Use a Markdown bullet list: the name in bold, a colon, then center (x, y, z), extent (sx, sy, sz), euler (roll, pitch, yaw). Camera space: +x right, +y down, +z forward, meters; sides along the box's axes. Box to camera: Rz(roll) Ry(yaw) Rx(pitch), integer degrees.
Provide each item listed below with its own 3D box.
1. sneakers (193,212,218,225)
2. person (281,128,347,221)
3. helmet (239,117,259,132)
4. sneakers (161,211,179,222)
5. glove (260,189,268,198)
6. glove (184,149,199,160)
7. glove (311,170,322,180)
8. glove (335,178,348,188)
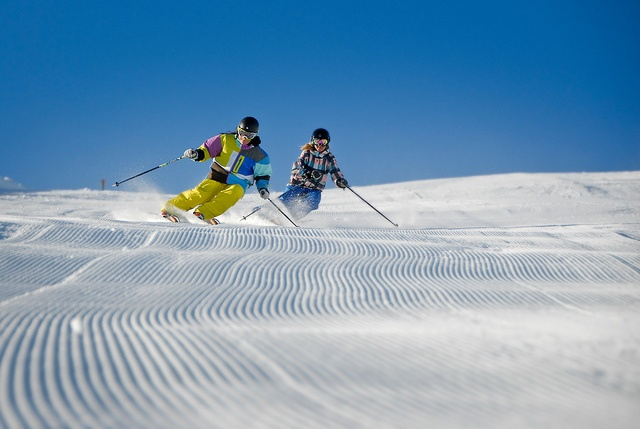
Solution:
- **sneakers**: center (-2.199, 0.091, 11.335), extent (0.392, 0.158, 0.238), euler (5, 2, -7)
- **person**: center (-0.235, -0.893, 13.794), extent (1.393, 2.207, 0.748), euler (1, 13, -1)
- **helmet**: center (-1.377, -1.734, 11.479), extent (0.347, 0.327, 0.463), euler (-1, 13, -12)
- **sneakers**: center (-2.876, 0.054, 11.289), extent (0.294, 0.089, 0.220), euler (27, 4, 8)
- **glove**: center (-1.125, -0.404, 11.927), extent (0.194, 0.236, 0.358), euler (0, 13, -6)
- **glove**: center (-2.508, -1.132, 11.492), extent (0.283, 0.271, 0.646), euler (-1, 13, -12)
- **glove**: center (-0.065, -0.931, 13.901), extent (0.252, 0.227, 0.080), euler (-4, 14, -22)
- **glove**: center (0.504, -0.701, 13.314), extent (0.306, 0.304, 0.126), euler (-2, -15, 4)
